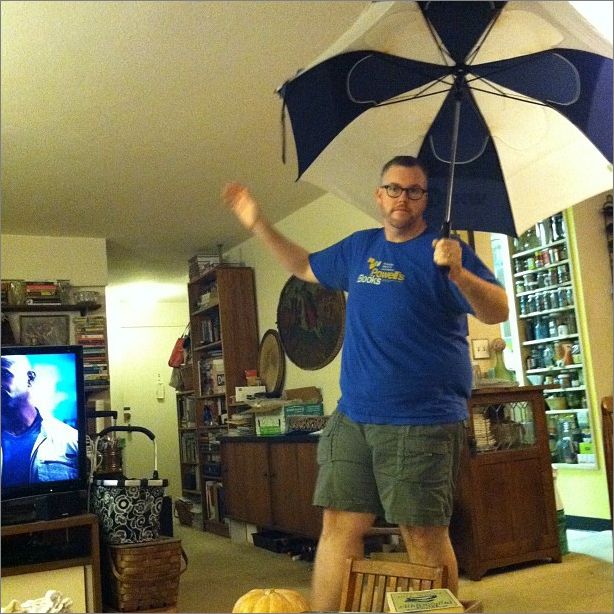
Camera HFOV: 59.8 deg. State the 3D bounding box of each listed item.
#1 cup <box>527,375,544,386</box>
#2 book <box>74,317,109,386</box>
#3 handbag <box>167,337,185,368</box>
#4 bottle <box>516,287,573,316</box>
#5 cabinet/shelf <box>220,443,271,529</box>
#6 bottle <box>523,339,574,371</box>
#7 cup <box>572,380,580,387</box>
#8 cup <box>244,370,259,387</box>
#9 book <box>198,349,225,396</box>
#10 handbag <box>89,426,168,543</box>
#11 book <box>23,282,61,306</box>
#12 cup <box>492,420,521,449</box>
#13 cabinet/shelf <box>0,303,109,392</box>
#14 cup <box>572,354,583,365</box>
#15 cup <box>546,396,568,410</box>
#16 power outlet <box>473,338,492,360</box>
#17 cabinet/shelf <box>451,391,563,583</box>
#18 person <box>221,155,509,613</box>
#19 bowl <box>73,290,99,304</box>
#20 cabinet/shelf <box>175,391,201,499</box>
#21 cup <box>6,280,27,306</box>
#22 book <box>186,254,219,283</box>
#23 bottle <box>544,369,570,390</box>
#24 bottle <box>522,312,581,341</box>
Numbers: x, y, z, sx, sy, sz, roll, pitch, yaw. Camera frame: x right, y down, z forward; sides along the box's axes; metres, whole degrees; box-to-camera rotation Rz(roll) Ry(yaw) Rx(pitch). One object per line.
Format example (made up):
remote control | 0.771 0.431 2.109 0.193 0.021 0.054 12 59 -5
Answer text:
cup | 1.954 0.631 4.541 0.171 0.087 0.183 1 -12 0
book | -2.049 0.424 5.051 0.199 0.716 0.498 -2 0 -11
handbag | -1.835 0.664 7.547 0.139 0.420 0.304 14 2 -24
bottle | 2.032 -0.049 4.537 0.049 0.184 0.602 0 -7 -20
cabinet/shelf | -0.455 1.540 4.743 0.719 0.743 0.268 -11 -9 43
bottle | 2.057 0.414 4.505 0.129 0.228 0.506 -1 -7 -15
cup | 2.162 0.616 4.270 0.035 0.051 0.072 1 -8 -29
cup | -0.616 0.777 5.820 0.135 0.149 0.143 -2 -14 0
book | -1.114 0.777 6.274 0.118 0.504 0.504 -2 -1 -31
handbag | -0.946 0.966 2.891 0.394 0.654 0.894 -1 -7 -16
book | -2.747 -0.133 5.507 0.351 0.286 0.206 2 -4 -19
cup | 1.167 0.738 3.147 0.152 0.171 0.155 0 -5 0
cabinet/shelf | -1.987 0.285 4.187 0.818 0.860 0.285 -1 -7 -6
cup | 2.148 0.417 4.224 0.062 0.076 0.066 2 1 0
cup | 2.072 0.811 4.399 0.118 0.081 0.126 0 -13 0
power outlet | 1.193 0.291 3.635 0.124 0.139 0.018 3 -12 -17
cabinet/shelf | 1.119 0.984 3.262 0.624 1.001 0.647 -6 -1 11
person | 0.160 0.188 1.465 0.592 1.102 0.394 -5 -7 19
bowl | -2.357 -0.105 5.647 0.192 0.104 0.195 1 -3 0
cabinet/shelf | -1.594 1.613 7.105 0.104 0.920 0.362 -12 -11 37
cup | -2.946 -0.136 5.401 0.169 0.255 0.074 1 -8 -32
book | -1.281 -0.502 6.467 0.418 0.226 0.311 -24 13 10
bottle | 2.094 0.603 4.446 0.172 0.158 0.311 -5 -7 14
bottle | 2.055 0.167 4.521 0.121 0.217 0.546 -1 -7 -16
